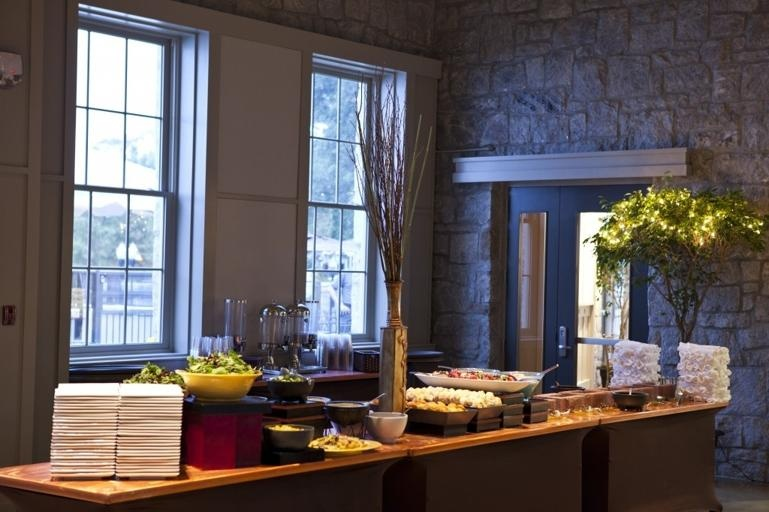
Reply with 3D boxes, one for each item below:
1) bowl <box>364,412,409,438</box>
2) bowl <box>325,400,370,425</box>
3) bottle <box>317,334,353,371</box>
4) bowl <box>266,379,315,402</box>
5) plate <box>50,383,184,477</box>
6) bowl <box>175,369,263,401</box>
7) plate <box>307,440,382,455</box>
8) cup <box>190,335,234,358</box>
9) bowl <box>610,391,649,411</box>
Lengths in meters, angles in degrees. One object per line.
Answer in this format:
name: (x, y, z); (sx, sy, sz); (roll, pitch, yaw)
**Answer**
bowl: (0.017, 0.946, 3.744); (0.165, 0.099, 0.167); (-1, -5, 0)
bowl: (-0.210, 0.837, 3.654); (0.155, 0.066, 0.158); (-1, -5, 0)
bottle: (-0.488, 0.963, 6.748); (0.336, 0.371, 0.370); (-4, -7, 34)
bowl: (-0.508, 0.725, 3.625); (0.163, 0.080, 0.166); (0, -3, 0)
plate: (-1.215, 0.806, 3.023); (0.553, 0.384, 0.081); (0, -3, -4)
bowl: (-0.829, 0.635, 3.292); (0.402, 0.141, 0.189); (0, -4, -3)
plate: (-0.192, 1.005, 3.504); (0.412, 0.063, 0.115); (2, -4, -28)
cup: (-1.544, 0.799, 5.975); (0.346, 0.154, 0.193); (1, -4, -18)
bowl: (1.764, 1.040, 4.822); (0.172, 0.083, 0.172); (-1, -2, 0)
